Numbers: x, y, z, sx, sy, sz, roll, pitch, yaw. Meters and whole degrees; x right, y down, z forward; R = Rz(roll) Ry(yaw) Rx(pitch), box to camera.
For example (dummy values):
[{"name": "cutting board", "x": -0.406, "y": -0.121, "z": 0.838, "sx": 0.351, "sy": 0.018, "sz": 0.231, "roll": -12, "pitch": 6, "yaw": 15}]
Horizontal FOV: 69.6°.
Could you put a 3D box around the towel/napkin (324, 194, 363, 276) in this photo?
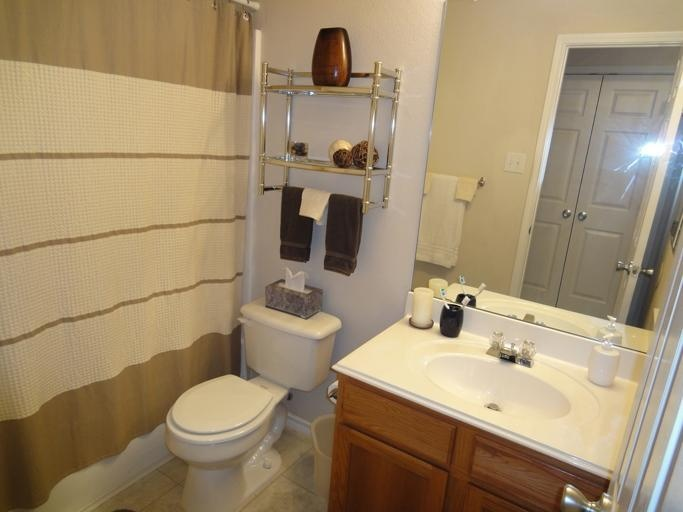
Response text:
[{"name": "towel/napkin", "x": 0.007, "y": -0.189, "z": 2.340, "sx": 0.167, "sy": 0.298, "sz": 0.060, "roll": 6, "pitch": 45, "yaw": 8}]

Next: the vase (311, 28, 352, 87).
[{"name": "vase", "x": -0.042, "y": -0.901, "z": 2.274, "sx": 0.177, "sy": 0.288, "sz": 0.149, "roll": 1, "pitch": -3, "yaw": 12}]

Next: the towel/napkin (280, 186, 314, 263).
[{"name": "towel/napkin", "x": -0.232, "y": -0.164, "z": 2.490, "sx": 0.162, "sy": 0.380, "sz": 0.051, "roll": 7, "pitch": 5, "yaw": 14}]

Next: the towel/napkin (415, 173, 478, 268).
[{"name": "towel/napkin", "x": 0.473, "y": -0.162, "z": 2.255, "sx": 0.311, "sy": 0.376, "sz": 0.104, "roll": 14, "pitch": 14, "yaw": 35}]

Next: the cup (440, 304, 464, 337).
[{"name": "cup", "x": 0.481, "y": 0.276, "z": 2.122, "sx": 0.087, "sy": 0.138, "sz": 0.087, "roll": 1, "pitch": 15, "yaw": 0}]

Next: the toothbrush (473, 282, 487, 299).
[{"name": "toothbrush", "x": 0.599, "y": 0.151, "z": 2.149, "sx": 0.021, "sy": 0.116, "sz": 0.018, "roll": 36, "pitch": 26, "yaw": 30}]

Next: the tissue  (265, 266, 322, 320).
[{"name": "tissue ", "x": -0.260, "y": 0.218, "z": 2.581, "sx": 0.260, "sy": 0.148, "sz": 0.143, "roll": 10, "pitch": 15, "yaw": 27}]

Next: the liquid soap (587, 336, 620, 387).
[{"name": "liquid soap", "x": 0.998, "y": 0.412, "z": 1.878, "sx": 0.103, "sy": 0.181, "sz": 0.100, "roll": -9, "pitch": 19, "yaw": -29}]

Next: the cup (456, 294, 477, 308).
[{"name": "cup", "x": 0.550, "y": 0.194, "z": 2.176, "sx": 0.056, "sy": 0.061, "sz": 0.059, "roll": 3, "pitch": 17, "yaw": -1}]

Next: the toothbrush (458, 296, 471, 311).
[{"name": "toothbrush", "x": 0.545, "y": 0.210, "z": 2.174, "sx": 0.034, "sy": 0.065, "sz": 0.014, "roll": 29, "pitch": 11, "yaw": 29}]

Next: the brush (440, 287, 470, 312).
[{"name": "brush", "x": 0.491, "y": 0.206, "z": 2.165, "sx": 0.065, "sy": 0.109, "sz": 0.107, "roll": 21, "pitch": 30, "yaw": 39}]

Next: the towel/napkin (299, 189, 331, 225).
[{"name": "towel/napkin", "x": -0.124, "y": -0.246, "z": 2.396, "sx": 0.146, "sy": 0.166, "sz": 0.057, "roll": 18, "pitch": 5, "yaw": 28}]

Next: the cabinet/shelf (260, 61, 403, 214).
[{"name": "cabinet/shelf", "x": -0.025, "y": -0.584, "z": 2.353, "sx": 0.590, "sy": 0.654, "sz": 0.206, "roll": 14, "pitch": 24, "yaw": 27}]
